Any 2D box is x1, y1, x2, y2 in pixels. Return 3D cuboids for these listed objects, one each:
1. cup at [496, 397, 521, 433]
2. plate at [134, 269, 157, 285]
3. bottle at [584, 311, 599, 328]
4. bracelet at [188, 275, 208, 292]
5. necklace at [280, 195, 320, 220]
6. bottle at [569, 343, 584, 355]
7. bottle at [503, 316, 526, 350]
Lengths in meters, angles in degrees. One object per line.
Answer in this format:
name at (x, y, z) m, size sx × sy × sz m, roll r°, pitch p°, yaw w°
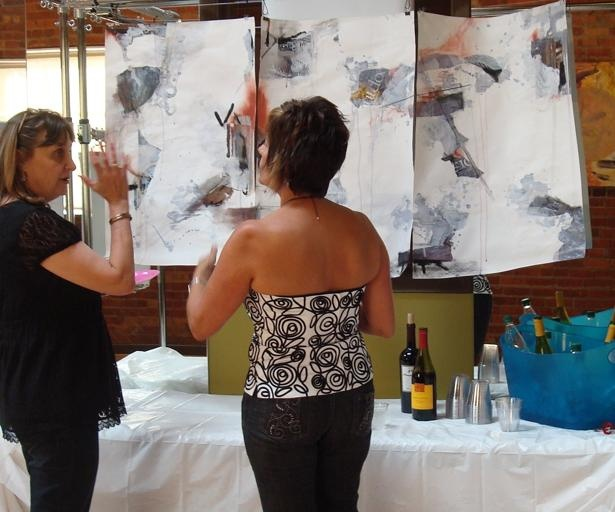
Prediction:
cup at (0.664, 0.522, 2.319) m, size 0.090 × 0.116 × 0.092 m, roll 0°, pitch -5°, yaw 0°
plate at (-0.643, 0.089, 2.822) m, size 0.077 × 0.068 × 0.341 m, roll -1°, pitch 5°, yaw -12°
bottle at (1.030, 0.228, 2.534) m, size 0.040 × 0.053 × 0.011 m, roll 3°, pitch 6°, yaw 24°
bracelet at (-0.312, 0.076, 1.967) m, size 0.067 × 0.054 × 0.072 m, roll 7°, pitch -6°, yaw -7°
necklace at (-0.008, -0.114, 1.819) m, size 0.061 × 0.076 × 0.018 m, roll 8°, pitch 0°, yaw 6°
bottle at (0.921, 0.322, 2.403) m, size 0.042 × 0.044 × 0.024 m, roll -8°, pitch 9°, yaw -43°
bottle at (0.735, 0.274, 2.506) m, size 0.076 × 0.125 × 0.149 m, roll 2°, pitch 5°, yaw 29°
